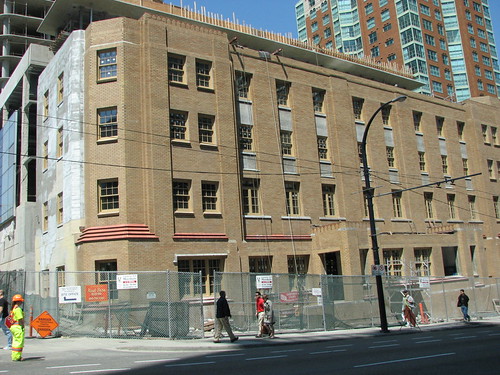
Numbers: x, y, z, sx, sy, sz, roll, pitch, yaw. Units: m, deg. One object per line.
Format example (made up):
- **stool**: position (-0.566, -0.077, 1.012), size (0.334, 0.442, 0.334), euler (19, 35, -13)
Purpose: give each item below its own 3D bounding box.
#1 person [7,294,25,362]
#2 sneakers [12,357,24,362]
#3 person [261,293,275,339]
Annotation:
- **person**: position (-9.041, 5.431, 19.229), size (0.471, 2.484, 0.923), euler (5, -17, -24)
- **sneakers**: position (-8.745, 6.512, 18.759), size (0.135, 0.153, 0.434), euler (-1, -5, 34)
- **person**: position (1.016, 6.815, 26.146), size (0.641, 2.226, 1.218), euler (-2, -16, 1)
